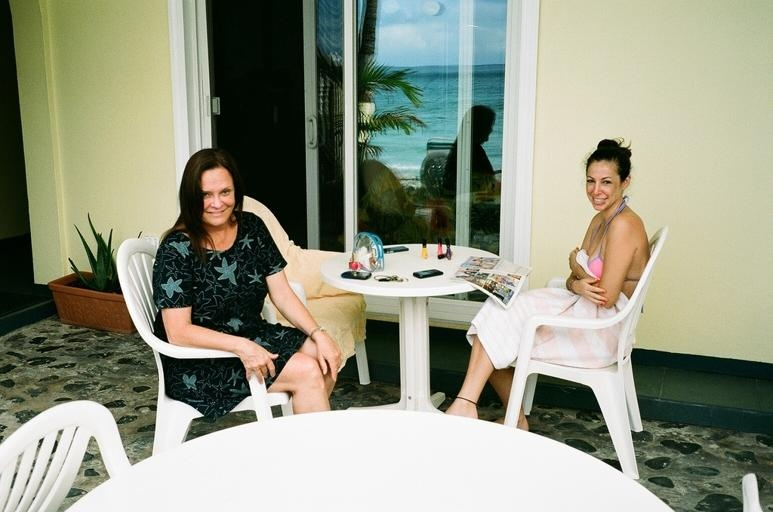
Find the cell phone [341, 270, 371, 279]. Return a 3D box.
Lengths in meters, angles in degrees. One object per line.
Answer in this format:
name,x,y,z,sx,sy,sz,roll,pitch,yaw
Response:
cell phone,-0.157,0.089,2.856,0.090,0.021,0.064,2,13,8

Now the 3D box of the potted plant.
potted plant,-2.284,0.161,4.563,0.657,0.736,0.590,6,3,-11

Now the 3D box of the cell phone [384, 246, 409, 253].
cell phone,0.055,-0.046,3.308,0.170,0.019,0.092,-4,6,-17

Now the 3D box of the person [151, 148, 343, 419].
person,-0.646,0.102,2.464,0.803,1.115,0.474,-3,18,-6

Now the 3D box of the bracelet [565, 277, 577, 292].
bracelet,0.948,0.137,2.912,0.045,0.091,0.028,4,21,-2

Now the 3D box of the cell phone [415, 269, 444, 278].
cell phone,0.210,0.080,2.858,0.106,0.019,0.056,-6,17,-28

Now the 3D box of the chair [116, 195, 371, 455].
chair,-0.664,0.345,2.674,0.872,1.218,0.951,4,34,11

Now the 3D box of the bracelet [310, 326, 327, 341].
bracelet,-0.307,0.360,2.591,0.065,0.034,0.049,-51,35,-11
